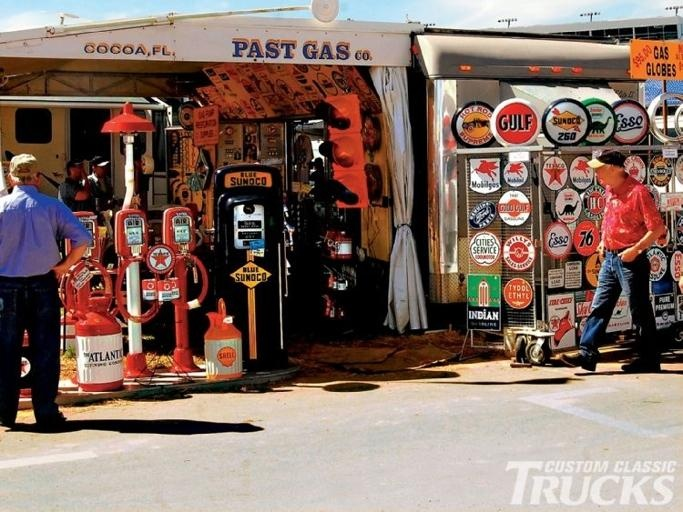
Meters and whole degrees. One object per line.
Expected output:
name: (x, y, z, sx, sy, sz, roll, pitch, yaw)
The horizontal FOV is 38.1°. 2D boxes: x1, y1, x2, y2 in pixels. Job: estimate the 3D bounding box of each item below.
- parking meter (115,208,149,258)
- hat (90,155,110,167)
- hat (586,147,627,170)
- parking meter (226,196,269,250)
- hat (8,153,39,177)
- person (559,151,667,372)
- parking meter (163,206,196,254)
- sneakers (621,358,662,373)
parking meter: (-2.139, -0.229, 10.073, 0.319, 0.479, 0.202, -3, 10, -14)
hat: (-3.704, -1.406, 14.893, 0.322, 0.121, 0.216, -6, 3, 28)
hat: (2.688, -1.026, 10.020, 0.351, 0.198, 0.245, 8, -1, 6)
parking meter: (-0.990, -0.340, 10.178, 0.532, 0.773, 0.097, 0, 2, -6)
hat: (-2.843, -0.808, 8.868, 0.181, 0.135, 0.257, -4, 26, -16)
person: (2.823, 0.095, 9.978, 0.828, 2.252, 0.427, 2, 10, 17)
parking meter: (-1.649, -0.304, 10.372, 0.325, 0.490, 0.253, 2, 30, -3)
sneakers: (3.083, 1.140, 10.204, 0.433, 0.174, 0.150, 3, 2, 18)
